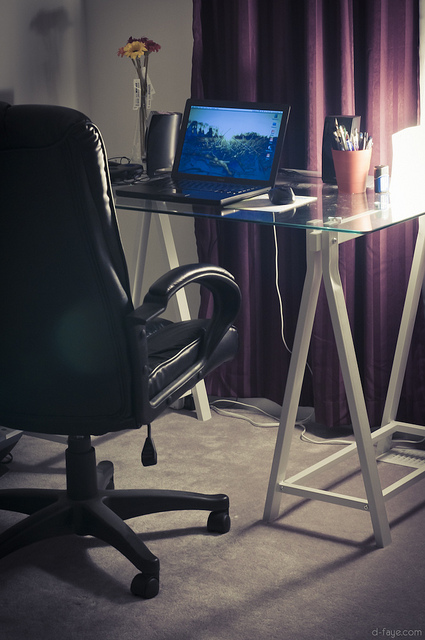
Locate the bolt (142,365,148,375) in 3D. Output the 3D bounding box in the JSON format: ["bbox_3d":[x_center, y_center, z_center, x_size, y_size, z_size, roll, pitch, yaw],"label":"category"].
[{"bbox_3d":[-0.111,0.082,0.863,0.003,0.016,0.011,2,7,29],"label":"bolt"}]

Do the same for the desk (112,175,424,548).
[{"bbox_3d":[0.211,0.115,1.589,0.996,0.877,0.832,9,18,32],"label":"desk"}]

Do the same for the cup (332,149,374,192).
[{"bbox_3d":[0.350,-0.375,1.327,0.099,0.102,0.097,-1,11,0],"label":"cup"}]

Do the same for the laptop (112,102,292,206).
[{"bbox_3d":[-0.014,-0.482,1.445,0.381,0.251,0.356,15,20,32],"label":"laptop"}]

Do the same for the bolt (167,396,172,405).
[{"bbox_3d":[-0.079,0.148,0.963,0.007,0.012,0.010,-10,21,-32],"label":"bolt"}]

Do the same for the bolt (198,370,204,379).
[{"bbox_3d":[-0.025,0.110,1.061,0.005,0.022,0.016,3,57,16],"label":"bolt"}]

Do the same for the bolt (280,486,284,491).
[{"bbox_3d":[0.166,0.411,1.283,0.004,0.007,0.005,10,42,22],"label":"bolt"}]

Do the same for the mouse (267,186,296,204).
[{"bbox_3d":[0.166,-0.303,1.286,0.057,0.049,0.091,-1,7,1],"label":"mouse"}]

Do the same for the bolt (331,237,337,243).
[{"bbox_3d":[0.257,-0.166,1.115,0.007,0.009,0.009,12,-18,-17],"label":"bolt"}]

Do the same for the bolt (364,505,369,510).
[{"bbox_3d":[0.342,0.418,1.176,0.008,0.010,0.002,-8,-23,38],"label":"bolt"}]

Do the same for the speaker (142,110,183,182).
[{"bbox_3d":[-0.146,-0.556,1.746,0.102,0.207,0.119,-6,-1,17],"label":"speaker"}]

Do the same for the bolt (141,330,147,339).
[{"bbox_3d":[-0.111,0.024,0.845,0.008,0.012,0.010,-13,33,-16],"label":"bolt"}]
